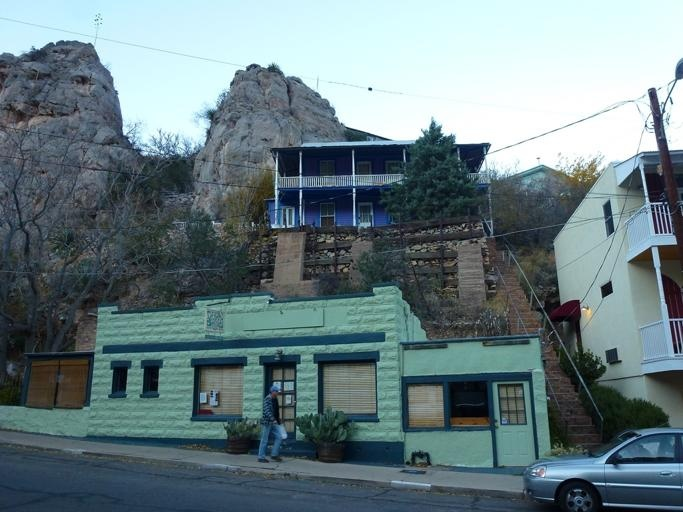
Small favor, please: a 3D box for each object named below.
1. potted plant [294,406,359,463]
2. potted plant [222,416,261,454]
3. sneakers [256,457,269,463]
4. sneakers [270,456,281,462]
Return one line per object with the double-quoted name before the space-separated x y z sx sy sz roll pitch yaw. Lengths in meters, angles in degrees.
"potted plant" -0.541 5.650 18.906 1.768 1.394 1.477 1 -23 -4
"potted plant" -3.230 5.920 19.526 1.061 1.055 1.091 -13 -22 32
"sneakers" -2.327 6.051 17.768 0.394 0.154 0.152 -1 -1 14
"sneakers" -1.930 6.105 18.009 0.367 0.138 0.118 -3 -2 17
